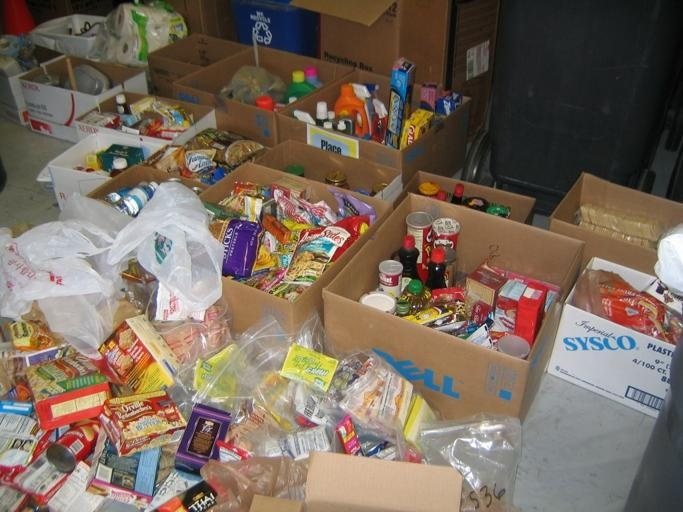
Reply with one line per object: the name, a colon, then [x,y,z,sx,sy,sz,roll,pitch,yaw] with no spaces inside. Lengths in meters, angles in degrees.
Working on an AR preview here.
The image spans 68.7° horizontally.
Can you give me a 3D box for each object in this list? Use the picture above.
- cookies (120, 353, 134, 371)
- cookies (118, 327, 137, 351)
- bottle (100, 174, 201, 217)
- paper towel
cookies: [-0.621,0.306,1.438,0.037,0.037,0.019,18,25,26]
cookies: [-0.630,0.239,1.453,0.014,0.055,0.058,17,41,-60]
bottle: [-0.745,-0.218,1.760,0.183,0.076,0.312,-1,25,-17]
paper towel: [-1.041,-1.222,2.778,0.424,0.353,0.167,-4,0,-3]
